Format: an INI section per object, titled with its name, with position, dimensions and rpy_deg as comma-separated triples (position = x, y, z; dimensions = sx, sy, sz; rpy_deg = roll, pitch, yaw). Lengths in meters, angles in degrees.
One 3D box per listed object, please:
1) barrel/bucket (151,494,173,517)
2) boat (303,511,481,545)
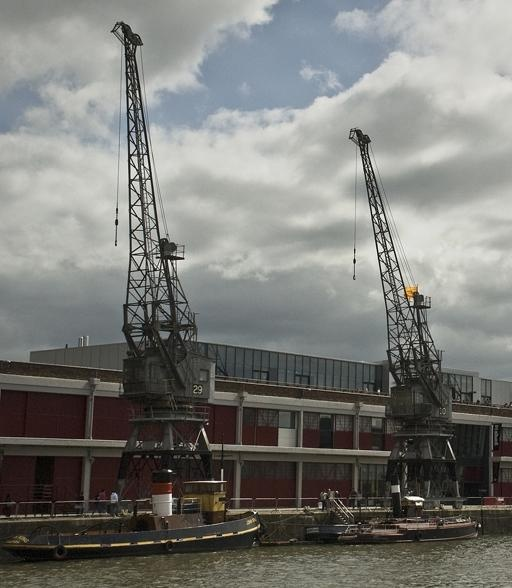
[barrel/bucket]
position = -4.695, 10.414, 40.459
dimensions = 1.036, 1.060, 1.055
rpy_deg = 1, -10, 0
[boat]
position = 8.143, 14.600, 50.821
dimensions = 10.530, 1.582, 2.633
rpy_deg = 2, -8, -27
